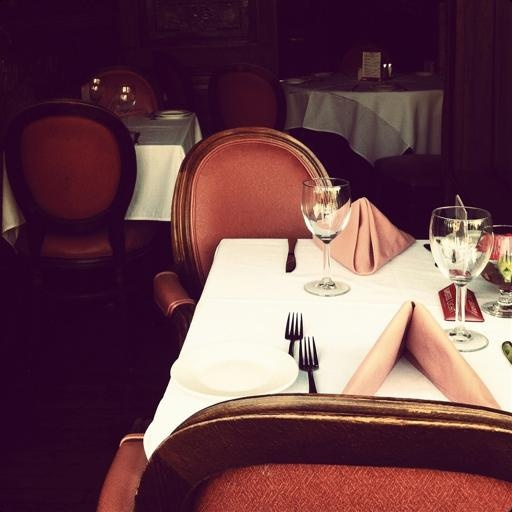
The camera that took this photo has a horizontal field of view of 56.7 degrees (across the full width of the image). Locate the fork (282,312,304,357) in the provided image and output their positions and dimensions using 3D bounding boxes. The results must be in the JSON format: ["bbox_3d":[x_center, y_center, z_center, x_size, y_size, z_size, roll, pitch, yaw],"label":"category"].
[{"bbox_3d":[0.055,0.120,0.764,0.013,0.012,0.099,1,43,9],"label":"fork"}]

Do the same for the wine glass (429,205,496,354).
[{"bbox_3d":[0.327,0.020,0.767,0.092,0.203,0.266,5,25,20],"label":"wine glass"}]

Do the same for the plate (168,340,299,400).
[{"bbox_3d":[-0.029,0.149,0.634,0.169,0.024,0.139,-4,26,1],"label":"plate"}]

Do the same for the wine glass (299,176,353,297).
[{"bbox_3d":[0.138,-0.034,0.933,0.093,0.205,0.161,-1,22,7],"label":"wine glass"}]
